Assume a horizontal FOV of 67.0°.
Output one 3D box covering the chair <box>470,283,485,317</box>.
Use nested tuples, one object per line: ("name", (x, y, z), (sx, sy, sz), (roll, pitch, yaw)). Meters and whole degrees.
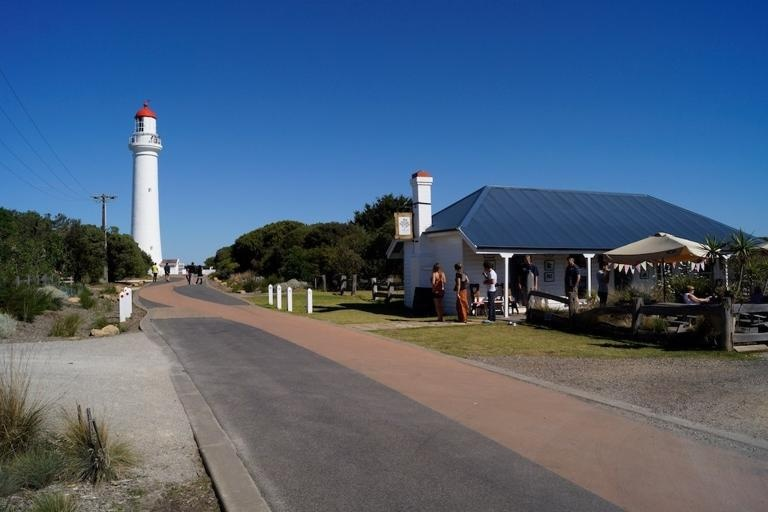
("chair", (3.885, 1.824, 23.231), (0.874, 1.264, 0.859), (3, 3, 1))

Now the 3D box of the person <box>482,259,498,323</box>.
("person", (3.734, 1.267, 20.607), (0.409, 2.093, 0.922), (1, 6, 8))

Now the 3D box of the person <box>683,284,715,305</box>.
("person", (10.546, 1.336, 19.463), (0.821, 0.642, 0.517), (5, 1, -4))

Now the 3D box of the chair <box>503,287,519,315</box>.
("chair", (5.267, 1.937, 23.762), (0.777, 1.181, 0.798), (2, -5, -43))

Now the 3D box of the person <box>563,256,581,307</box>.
("person", (6.608, 0.869, 20.382), (0.380, 1.514, 2.778), (2, 6, 17))

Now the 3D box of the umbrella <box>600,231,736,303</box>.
("umbrella", (9.214, 0.215, 18.971), (2.249, 1.742, 2.420), (1, -2, 18))

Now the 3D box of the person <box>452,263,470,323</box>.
("person", (2.788, 1.341, 20.878), (0.466, 2.183, 0.892), (1, 6, 5))
